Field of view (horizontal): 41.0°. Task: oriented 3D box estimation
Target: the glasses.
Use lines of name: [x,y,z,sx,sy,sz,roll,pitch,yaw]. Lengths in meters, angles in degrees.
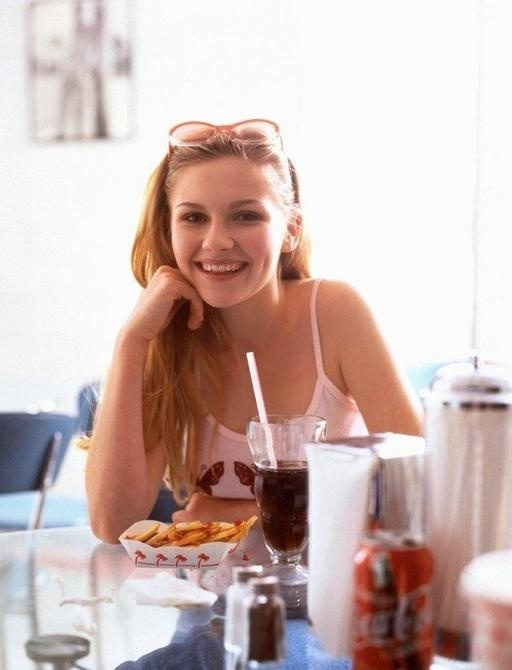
glasses: [-0.042,-0.378,1.286,0.231,0.063,0.107,-11,2,-16]
